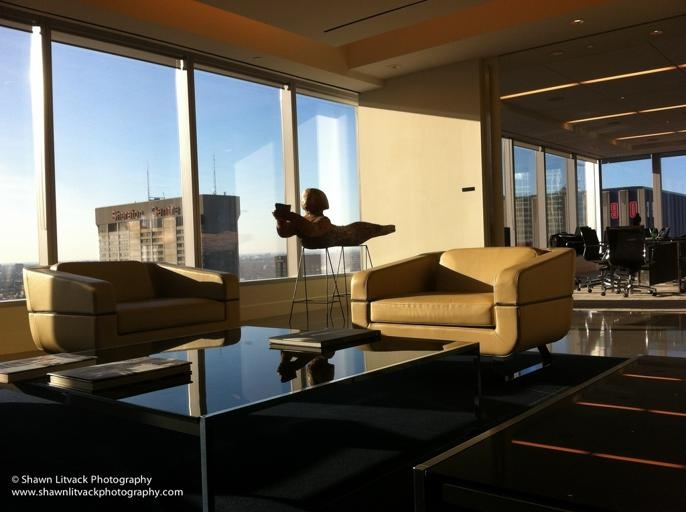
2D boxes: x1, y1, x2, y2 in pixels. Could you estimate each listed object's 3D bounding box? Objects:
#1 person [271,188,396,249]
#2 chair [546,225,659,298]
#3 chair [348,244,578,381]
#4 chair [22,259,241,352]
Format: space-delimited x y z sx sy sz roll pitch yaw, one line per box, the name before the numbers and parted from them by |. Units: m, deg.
person | -0.079 -0.364 5.719 1.565 0.570 0.460 -3 11 -45
chair | 3.489 0.080 7.430 1.117 1.138 1.125 -5 5 -22
chair | 0.816 0.320 3.762 1.263 0.756 1.012 -2 -1 36
chair | -1.543 0.337 4.104 1.006 0.553 1.103 -2 1 37
